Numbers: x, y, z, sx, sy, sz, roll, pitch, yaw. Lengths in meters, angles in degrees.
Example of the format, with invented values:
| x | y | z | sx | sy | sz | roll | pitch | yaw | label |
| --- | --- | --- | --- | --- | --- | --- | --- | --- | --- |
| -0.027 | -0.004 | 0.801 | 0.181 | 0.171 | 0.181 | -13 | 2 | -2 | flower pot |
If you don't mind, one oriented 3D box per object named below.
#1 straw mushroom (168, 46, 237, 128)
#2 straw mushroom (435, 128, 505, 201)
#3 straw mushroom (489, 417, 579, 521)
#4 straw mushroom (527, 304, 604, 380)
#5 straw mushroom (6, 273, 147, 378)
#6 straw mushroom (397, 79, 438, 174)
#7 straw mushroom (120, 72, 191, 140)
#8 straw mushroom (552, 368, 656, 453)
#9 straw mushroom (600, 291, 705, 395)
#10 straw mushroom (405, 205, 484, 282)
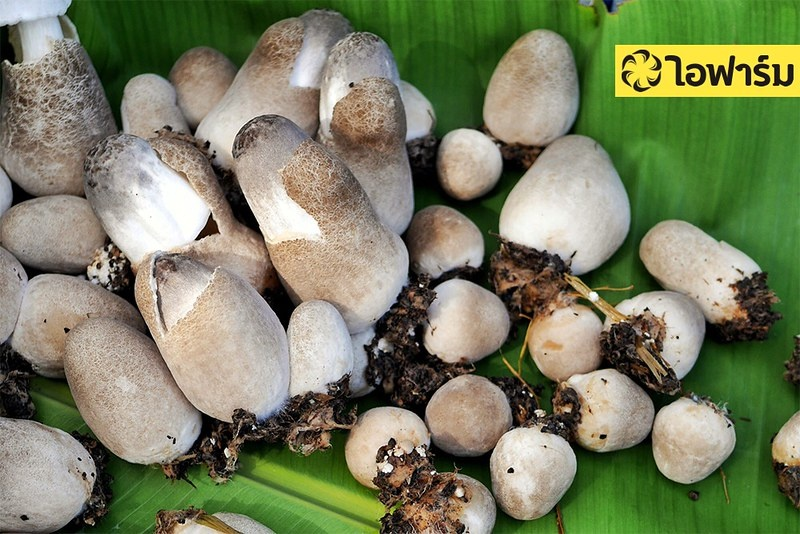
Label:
| x | y | z | sx | sy | sz | roll | pitch | yaw | label |
| --- | --- | --- | --- | --- | --- | --- | --- | --- | --- |
| -0.646 | -0.591 | 3.004 | 0.183 | 0.146 | 0.277 | 7 | 72 | -2 | straw mushroom |
| 0.224 | -0.327 | 2.891 | 0.190 | 0.225 | 0.117 | 27 | 0 | -9 | straw mushroom |
| 0.393 | 0.603 | 2.681 | 0.254 | 0.319 | 0.243 | 10 | -4 | -14 | straw mushroom |
| 0.510 | 0.217 | 2.792 | 0.192 | 0.274 | 0.221 | -5 | -2 | 12 | straw mushroom |
| -0.984 | 0.179 | 2.780 | 0.341 | 0.258 | 0.186 | 43 | -2 | -1 | straw mushroom |
| 0.077 | -0.460 | 2.988 | 0.124 | 0.264 | 0.183 | -4 | -8 | 6 | straw mushroom |
| -0.784 | -0.497 | 2.831 | 0.137 | 0.101 | 0.269 | -19 | 69 | -15 | straw mushroom |
| 0.611 | 0.427 | 2.668 | 0.256 | 0.220 | 0.224 | 9 | 47 | -19 | straw mushroom |
| 0.777 | 0.208 | 2.728 | 0.240 | 0.350 | 0.189 | -7 | 14 | 16 | straw mushroom |
| 0.142 | -0.071 | 2.804 | 0.198 | 0.239 | 0.123 | -16 | -2 | -16 | straw mushroom |
